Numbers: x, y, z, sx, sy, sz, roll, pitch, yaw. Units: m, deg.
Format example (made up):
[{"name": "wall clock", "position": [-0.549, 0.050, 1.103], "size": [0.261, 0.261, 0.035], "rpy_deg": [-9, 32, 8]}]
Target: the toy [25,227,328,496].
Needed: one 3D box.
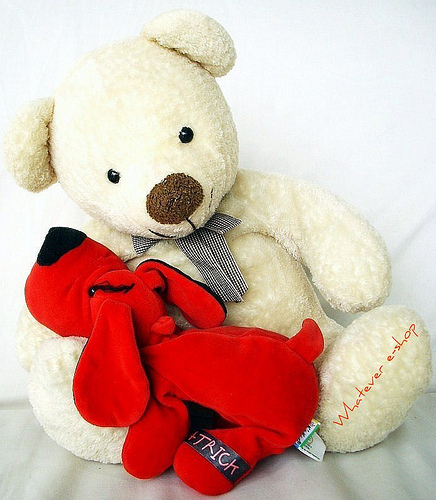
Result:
[{"name": "toy", "position": [-0.078, 0.207, 0.983], "size": [0.555, 0.213, 0.341], "rpy_deg": [21, 59, 10]}]

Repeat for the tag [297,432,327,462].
[{"name": "tag", "position": [0.155, 0.319, 0.938], "size": [0.046, 0.011, 0.044], "rpy_deg": [42, 58, -6]}]

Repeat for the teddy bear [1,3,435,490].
[{"name": "teddy bear", "position": [-0.018, -0.012, 1.046], "size": [0.639, 0.735, 0.534], "rpy_deg": [-36, 27, -8]}]
